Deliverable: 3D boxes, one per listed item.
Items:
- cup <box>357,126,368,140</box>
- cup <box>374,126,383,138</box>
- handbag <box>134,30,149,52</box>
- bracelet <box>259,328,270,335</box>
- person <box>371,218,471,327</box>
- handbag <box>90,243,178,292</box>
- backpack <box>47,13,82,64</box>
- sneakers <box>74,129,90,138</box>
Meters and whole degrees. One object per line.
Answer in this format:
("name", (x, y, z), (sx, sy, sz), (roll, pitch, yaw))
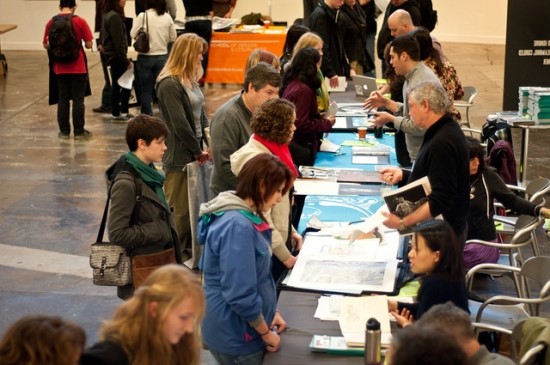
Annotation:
("cup", (1.083, -0.615, 6.091), (0.145, 0.134, 0.140), (0, 12, 0))
("cup", (1.310, -0.640, 6.187), (0.159, 0.168, 0.156), (-2, 10, 0))
("handbag", (-2.341, -2.496, 8.572), (0.154, 0.282, 0.297), (1, 32, -19))
("bracelet", (-0.066, 0.914, 2.960), (0.064, 0.041, 0.046), (2, 5, 5))
("person", (0.937, 0.565, 3.337), (0.672, 0.859, 0.540), (2, 1, 16))
("handbag", (-1.141, 0.633, 3.773), (0.389, 0.219, 0.504), (4, 12, 22))
("backpack", (-3.586, -2.456, 8.257), (0.526, 0.759, 0.450), (2, 23, -9))
("sneakers", (-3.556, -0.915, 9.036), (0.326, 0.131, 0.114), (-10, 27, -25))
